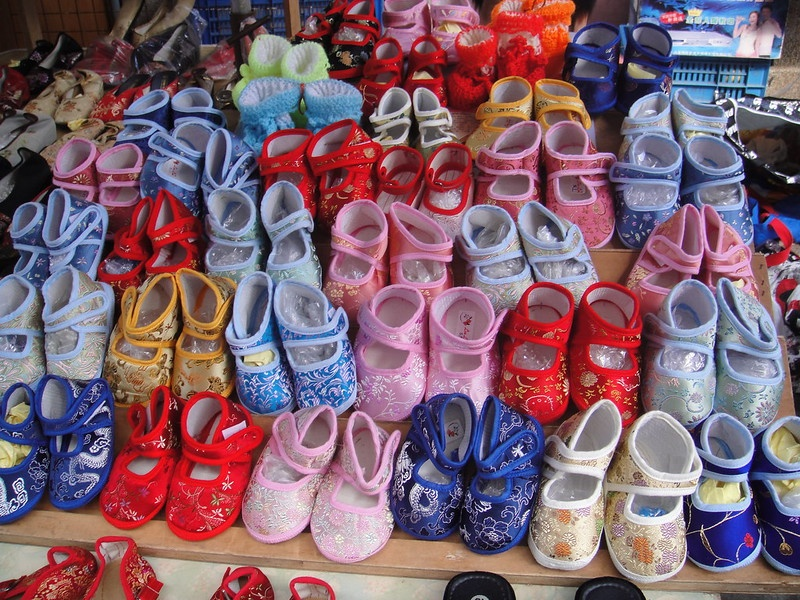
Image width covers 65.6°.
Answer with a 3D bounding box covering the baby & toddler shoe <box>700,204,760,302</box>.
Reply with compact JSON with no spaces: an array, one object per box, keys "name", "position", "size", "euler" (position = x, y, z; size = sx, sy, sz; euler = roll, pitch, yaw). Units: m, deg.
[{"name":"baby & toddler shoe","position":[1.162,-0.159,2.240],"size":[0.197,0.366,0.126],"euler":[-21,-11,37]}]
